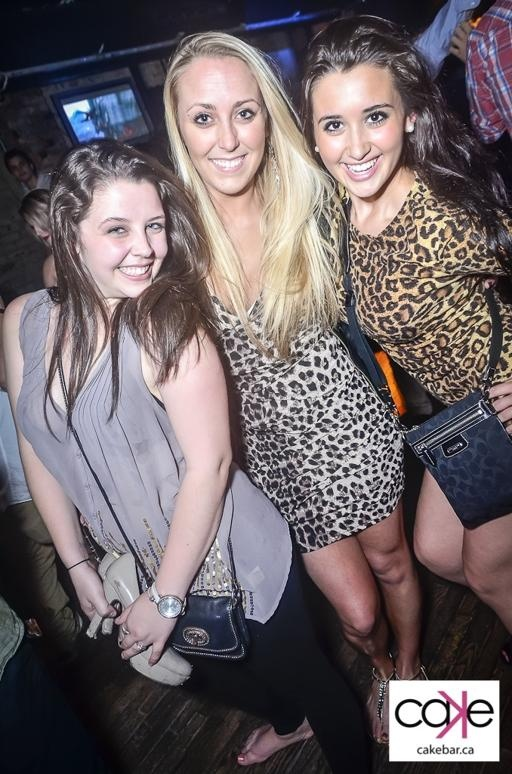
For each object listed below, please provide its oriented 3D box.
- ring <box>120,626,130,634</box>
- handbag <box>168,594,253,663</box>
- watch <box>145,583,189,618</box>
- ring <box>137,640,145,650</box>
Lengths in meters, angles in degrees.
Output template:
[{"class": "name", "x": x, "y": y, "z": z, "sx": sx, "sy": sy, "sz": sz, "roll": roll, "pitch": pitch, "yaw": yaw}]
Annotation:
[{"class": "ring", "x": -0.330, "y": 0.613, "z": 1.390, "sx": 0.022, "sy": 0.022, "sz": 0.006, "roll": 32, "pitch": 39, "yaw": 29}, {"class": "handbag", "x": -0.116, "y": 0.606, "z": 1.407, "sx": 0.197, "sy": 0.189, "sz": 0.093, "roll": 4, "pitch": 23, "yaw": 9}, {"class": "watch", "x": -0.221, "y": 0.528, "z": 1.354, "sx": 0.073, "sy": 0.079, "sz": 0.039, "roll": -25, "pitch": 20, "yaw": 12}, {"class": "ring", "x": -0.288, "y": 0.652, "z": 1.389, "sx": 0.020, "sy": 0.027, "sz": 0.010, "roll": -1, "pitch": 17, "yaw": 15}]
